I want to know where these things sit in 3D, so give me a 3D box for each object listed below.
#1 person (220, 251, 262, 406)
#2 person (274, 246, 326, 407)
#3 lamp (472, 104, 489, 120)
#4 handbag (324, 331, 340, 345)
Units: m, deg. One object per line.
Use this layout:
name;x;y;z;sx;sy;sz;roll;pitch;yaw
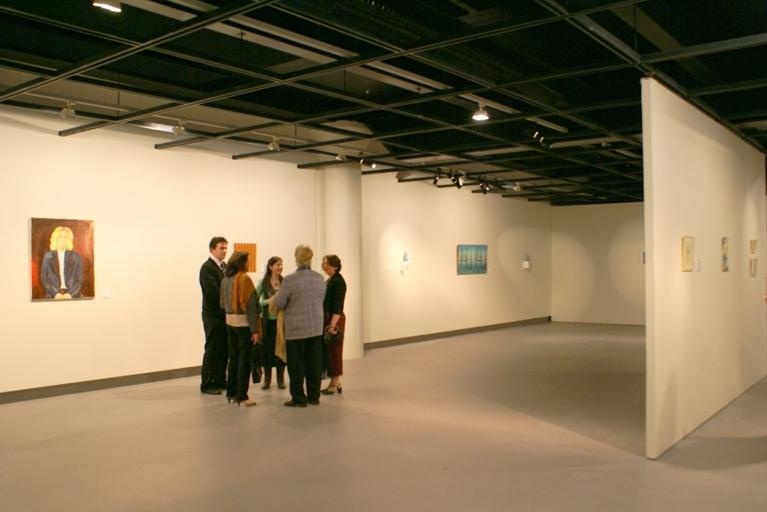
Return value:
person;-2.197;1.104;8.487;0.444;2.345;0.753;0;2;-29
person;-1.257;1.050;8.372;0.741;2.442;0.326;0;2;-18
lamp;1.441;-2.107;8.176;0.278;0.295;0.278;1;6;2
handbag;-0.828;1.287;8.868;0.144;0.205;0.254;1;2;29
